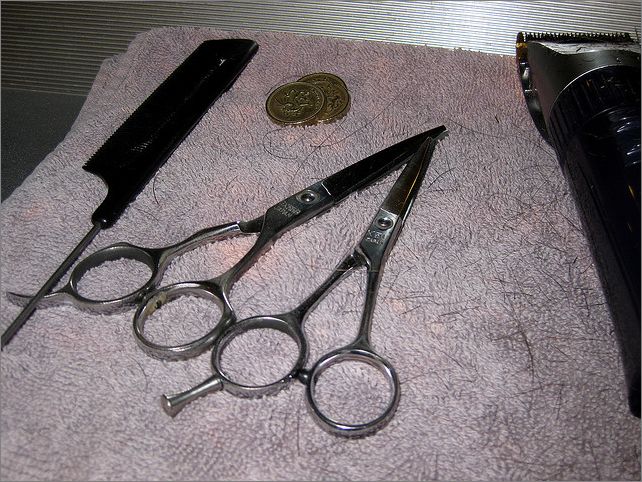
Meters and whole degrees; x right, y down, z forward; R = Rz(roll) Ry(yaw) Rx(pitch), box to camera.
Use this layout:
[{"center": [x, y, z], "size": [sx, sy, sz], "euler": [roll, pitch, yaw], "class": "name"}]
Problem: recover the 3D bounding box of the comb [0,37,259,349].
[{"center": [-0.160, -0.110, 0.640], "size": [0.080, 0.015, 0.559], "euler": [28, 60, 22], "class": "comb"}]
